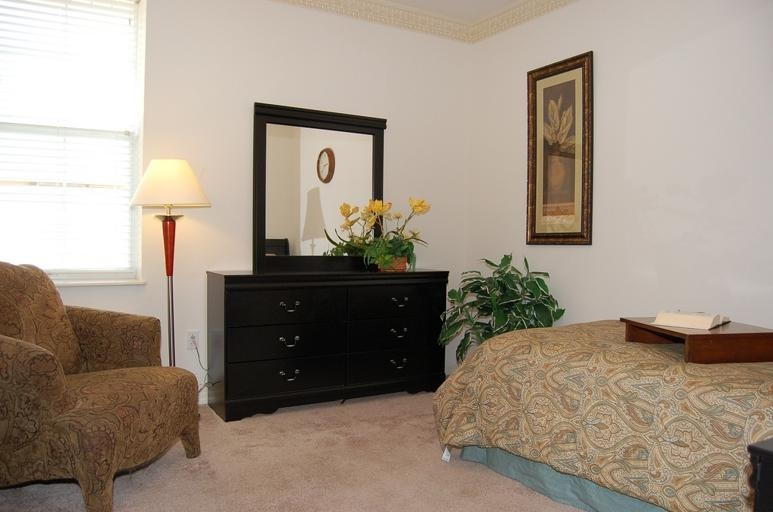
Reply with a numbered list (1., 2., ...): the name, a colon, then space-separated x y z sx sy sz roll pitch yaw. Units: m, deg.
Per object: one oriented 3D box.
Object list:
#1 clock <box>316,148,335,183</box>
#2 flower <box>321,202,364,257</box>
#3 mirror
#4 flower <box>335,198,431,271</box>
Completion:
1. clock: -0.517 -0.757 4.357 0.282 0.324 0.063 5 8 40
2. flower: -0.319 -0.228 4.410 0.307 0.387 0.352 3 -4 -18
3. mirror: -0.596 -0.539 4.294 1.474 1.703 0.088 1 3 -27
4. flower: -0.029 -0.165 4.416 0.690 0.513 0.689 -2 2 -34
